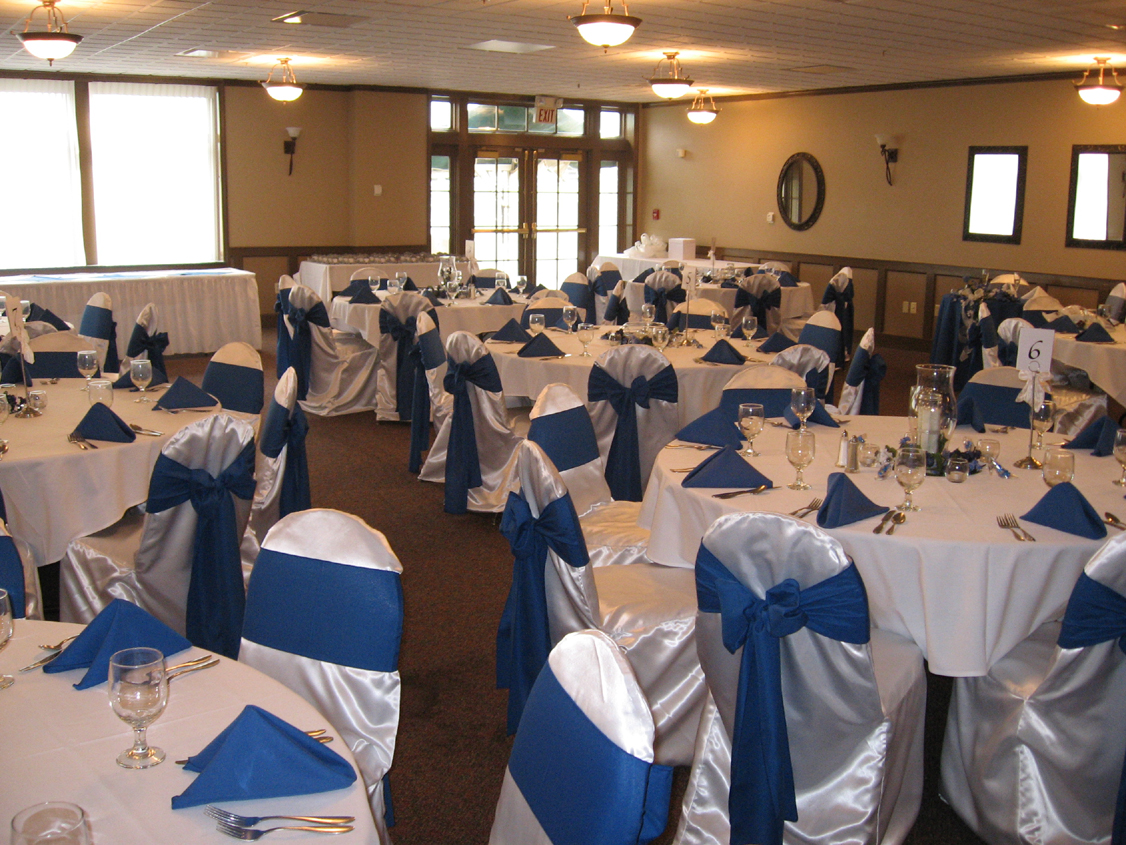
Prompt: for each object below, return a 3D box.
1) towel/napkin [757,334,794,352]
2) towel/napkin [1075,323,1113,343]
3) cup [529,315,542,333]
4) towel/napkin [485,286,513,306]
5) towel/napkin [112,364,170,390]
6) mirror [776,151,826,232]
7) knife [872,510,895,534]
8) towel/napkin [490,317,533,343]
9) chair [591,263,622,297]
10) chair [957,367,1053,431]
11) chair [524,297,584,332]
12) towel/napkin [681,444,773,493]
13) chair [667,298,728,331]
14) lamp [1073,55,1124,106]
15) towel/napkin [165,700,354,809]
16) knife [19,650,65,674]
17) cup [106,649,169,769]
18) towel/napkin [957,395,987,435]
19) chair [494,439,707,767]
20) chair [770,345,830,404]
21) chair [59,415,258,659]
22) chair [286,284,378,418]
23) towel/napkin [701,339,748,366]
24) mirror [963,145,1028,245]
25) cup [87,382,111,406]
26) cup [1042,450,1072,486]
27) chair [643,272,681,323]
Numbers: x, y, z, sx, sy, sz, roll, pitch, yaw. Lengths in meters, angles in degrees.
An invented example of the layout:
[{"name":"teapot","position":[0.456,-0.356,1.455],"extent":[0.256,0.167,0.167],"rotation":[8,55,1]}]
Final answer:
[{"name":"towel/napkin","position":[1.383,-0.518,6.237],"extent":[0.234,0.144,0.363],"rotation":[-1,4,5]},{"name":"towel/napkin","position":[3.875,-0.651,6.931],"extent":[0.147,0.089,0.222],"rotation":[0,9,19]},{"name":"cup","position":[-0.182,-0.661,6.421],"extent":[0.082,0.115,0.091],"rotation":[3,10,22]},{"name":"towel/napkin","position":[-0.575,-1.125,8.667],"extent":[0.167,0.115,0.219],"rotation":[3,10,4]},{"name":"towel/napkin","position":[-2.070,-0.222,4.702],"extent":[0.196,0.078,0.203],"rotation":[-3,11,7]},{"name":"mirror","position":[3.308,-3.181,13.148],"extent":[0.074,1.057,0.816],"rotation":[-8,13,-35]},{"name":"knife","position":[1.053,0.331,3.110],"extent":[0.039,0.014,0.165],"rotation":[4,18,28]},{"name":"towel/napkin","position":[-0.341,-0.596,6.534],"extent":[0.201,0.255,0.067],"rotation":[10,3,7]},{"name":"chair","position":[0.474,-1.624,10.953],"extent":[0.269,0.233,0.429],"rotation":[-2,19,-4]},{"name":"chair","position":[2.041,-0.127,4.450],"extent":[0.375,0.260,0.369],"rotation":[9,45,14]},{"name":"chair","position":[-0.088,-0.824,7.298],"extent":[0.464,0.269,0.674],"rotation":[1,3,-4]},{"name":"towel/napkin","position":[0.597,0.191,3.459],"extent":[0.184,0.100,0.199],"rotation":[2,3,34]},{"name":"chair","position":[1.080,-0.870,7.717],"extent":[0.472,0.277,0.753],"rotation":[1,7,5]},{"name":"lamp","position":[5.513,-3.451,9.715],"extent":[0.415,0.450,1.603],"rotation":[5,13,28]},{"name":"towel/napkin","position":[-0.589,0.699,1.938],"extent":[0.207,0.103,0.221],"rotation":[1,8,8]},{"name":"knife","position":[-1.295,0.596,2.362],"extent":[0.017,0.017,0.107],"rotation":[18,25,38]},{"name":"cup","position":[-0.915,0.602,2.054],"extent":[0.108,0.235,0.202],"rotation":[-6,12,-27]},{"name":"towel/napkin","position":[1.799,-0.028,4.193],"extent":[0.071,0.136,0.107],"rotation":[-35,47,-28]},{"name":"chair","position":[0.068,0.369,3.631],"extent":[0.837,1.382,0.942],"rotation":[-6,21,-11]},{"name":"chair","position":[1.215,-0.245,4.870],"extent":[0.212,0.266,0.255],"rotation":[14,37,10]},{"name":"chair","position":[-1.488,0.429,3.488],"extent":[0.496,0.771,0.481],"rotation":[36,33,27]},{"name":"chair","position":[-1.940,-0.565,8.005],"extent":[0.718,1.008,0.627],"rotation":[-22,39,-37]},{"name":"towel/napkin","position":[0.984,-0.425,5.770],"extent":[0.267,0.136,0.191],"rotation":[1,12,10]},{"name":"mirror","position":[5.045,-2.650,11.024],"extent":[0.055,1.478,0.873],"rotation":[-6,12,-39]},{"name":"cup","position":[-2.256,-0.138,4.622],"extent":[0.104,0.129,0.117],"rotation":[2,1,-16]},{"name":"cup","position":[1.785,0.158,3.424],"extent":[0.111,0.156,0.117],"rotation":[-1,2,0]},{"name":"chair","position":[1.039,-1.350,9.692],"extent":[0.389,0.681,0.242],"rotation":[3,22,3]}]
